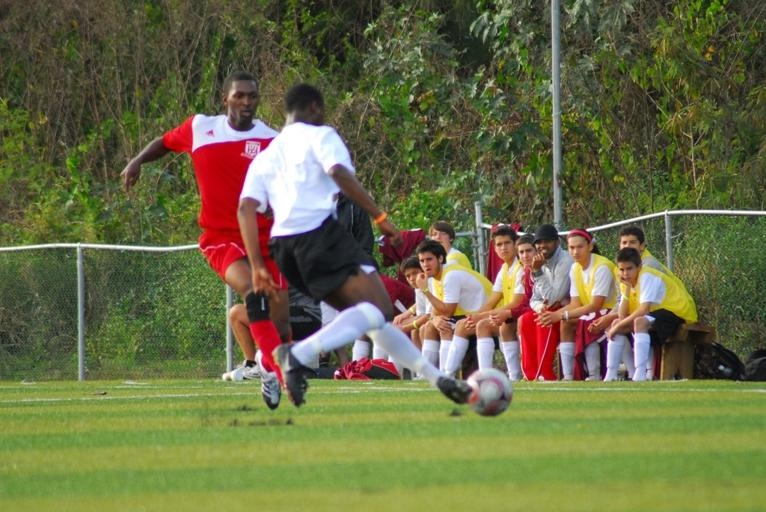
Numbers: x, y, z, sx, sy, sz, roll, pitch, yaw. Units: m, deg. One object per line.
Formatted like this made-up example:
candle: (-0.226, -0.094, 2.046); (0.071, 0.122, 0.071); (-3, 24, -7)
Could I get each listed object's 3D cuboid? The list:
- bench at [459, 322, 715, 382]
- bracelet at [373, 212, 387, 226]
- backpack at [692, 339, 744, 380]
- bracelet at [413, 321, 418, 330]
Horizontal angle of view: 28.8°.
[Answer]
bench: (3.777, 1.243, 18.891); (0.617, 0.836, 0.817); (0, -1, 18)
bracelet: (-0.041, -0.362, 15.436); (0.043, 0.123, 0.110); (37, 12, -4)
backpack: (4.200, 1.322, 18.728); (0.613, 0.453, 0.298); (-1, -2, 15)
bracelet: (0.436, 0.950, 20.321); (0.079, 0.119, 0.045); (-4, 4, 2)
